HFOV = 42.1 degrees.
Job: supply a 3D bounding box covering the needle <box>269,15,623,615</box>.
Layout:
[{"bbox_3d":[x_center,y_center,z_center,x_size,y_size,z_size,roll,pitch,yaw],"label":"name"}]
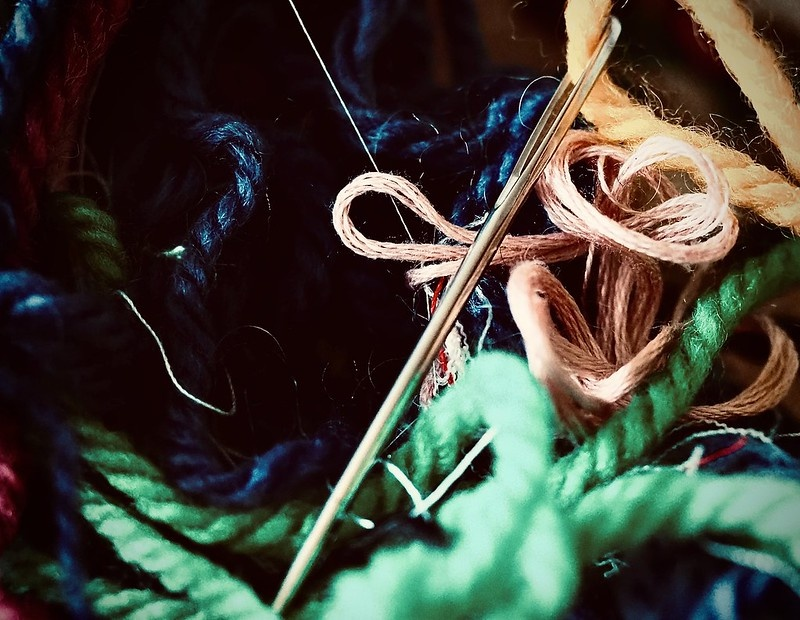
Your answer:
[{"bbox_3d":[0.057,-0.004,1.113,0.042,0.396,0.596,25,48,30],"label":"needle"}]
